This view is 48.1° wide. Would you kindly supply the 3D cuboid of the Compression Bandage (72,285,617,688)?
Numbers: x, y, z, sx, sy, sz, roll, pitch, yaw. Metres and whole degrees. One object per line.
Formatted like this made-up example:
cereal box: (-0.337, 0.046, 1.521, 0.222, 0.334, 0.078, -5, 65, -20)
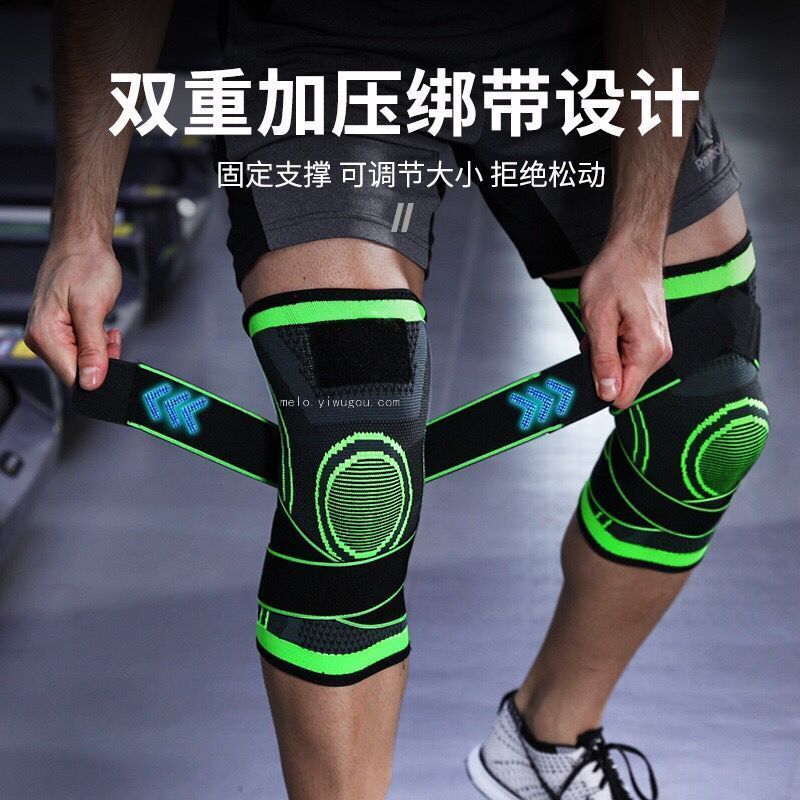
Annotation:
Compression Bandage: (-0.095, 0.175, 1.423, 0.950, 0.587, 0.340, -1, 10, -15)
